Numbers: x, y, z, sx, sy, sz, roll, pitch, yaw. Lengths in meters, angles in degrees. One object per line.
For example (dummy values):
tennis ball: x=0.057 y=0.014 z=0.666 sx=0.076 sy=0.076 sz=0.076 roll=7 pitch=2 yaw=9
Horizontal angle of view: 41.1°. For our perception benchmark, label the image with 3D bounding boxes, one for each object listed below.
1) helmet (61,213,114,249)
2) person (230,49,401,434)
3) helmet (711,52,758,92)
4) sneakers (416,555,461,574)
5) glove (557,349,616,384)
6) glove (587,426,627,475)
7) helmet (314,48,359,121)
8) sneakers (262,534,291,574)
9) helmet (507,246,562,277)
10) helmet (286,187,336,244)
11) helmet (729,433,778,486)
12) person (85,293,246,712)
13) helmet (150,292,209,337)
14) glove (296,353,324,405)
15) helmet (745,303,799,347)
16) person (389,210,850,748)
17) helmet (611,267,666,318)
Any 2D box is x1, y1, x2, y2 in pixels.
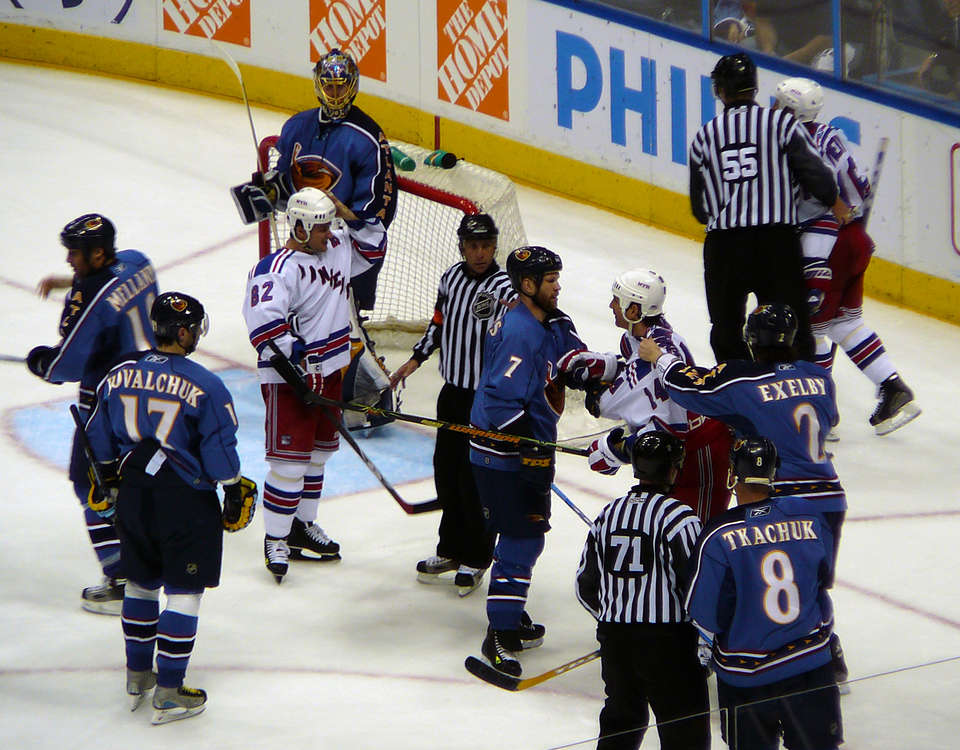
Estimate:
helmet: x=-1.681 y=-0.612 z=5.541 sx=0.206 sy=0.146 sz=0.234 roll=2 pitch=4 yaw=-10
person: x=-0.847 y=-0.761 z=7.010 sx=0.825 sy=1.878 sz=0.619 roll=5 pitch=24 yaw=9
helmet: x=1.236 y=-1.478 z=6.283 sx=0.175 sy=0.199 sz=0.218 roll=2 pitch=19 yaw=1
sneakers: x=-0.183 y=0.884 z=5.940 sx=0.189 sy=0.074 sz=0.083 roll=4 pitch=1 yaw=5
glove: x=0.455 y=-0.042 z=5.246 sx=0.172 sy=0.064 sz=0.143 roll=4 pitch=16 yaw=5
glove: x=0.539 y=0.313 z=5.040 sx=0.167 sy=0.134 sz=0.186 roll=-14 pitch=-26 yaw=35
helmet: x=-0.740 y=-1.556 z=6.777 sx=0.270 sy=0.348 sz=0.337 roll=1 pitch=-36 yaw=-1
sneakers: x=-0.928 y=0.842 z=5.938 sx=0.106 sy=0.186 sz=0.131 roll=2 pitch=4 yaw=-12
helmet: x=0.221 y=-0.444 z=5.097 sx=0.156 sy=0.140 sz=0.133 roll=-11 pitch=9 yaw=10
helmet: x=-0.763 y=-0.704 z=5.832 sx=0.249 sy=0.225 sz=0.189 roll=14 pitch=23 yaw=23
helmet: x=0.889 y=0.291 z=4.147 sx=0.172 sy=0.196 sz=0.223 roll=3 pitch=8 yaw=4
person: x=-1.241 y=0.491 z=4.988 sx=0.626 sy=1.614 sz=0.414 roll=3 pitch=4 yaw=3
helmet: x=-1.153 y=-0.228 z=4.975 sx=0.188 sy=0.143 sz=0.170 roll=-18 pitch=27 yaw=-23
glove: x=-0.767 y=0.006 z=5.942 sx=0.089 sy=0.163 sz=0.121 roll=-19 pitch=29 yaw=-13
helmet: x=1.039 y=-0.170 z=4.571 sx=0.172 sy=0.160 sz=0.141 roll=3 pitch=4 yaw=11
person: x=0.794 y=0.415 z=4.722 sx=0.922 sy=1.591 sz=1.509 roll=0 pitch=4 yaw=-28
helmet: x=0.620 y=-0.322 z=5.012 sx=0.223 sy=0.184 sz=0.195 roll=11 pitch=21 yaw=6
